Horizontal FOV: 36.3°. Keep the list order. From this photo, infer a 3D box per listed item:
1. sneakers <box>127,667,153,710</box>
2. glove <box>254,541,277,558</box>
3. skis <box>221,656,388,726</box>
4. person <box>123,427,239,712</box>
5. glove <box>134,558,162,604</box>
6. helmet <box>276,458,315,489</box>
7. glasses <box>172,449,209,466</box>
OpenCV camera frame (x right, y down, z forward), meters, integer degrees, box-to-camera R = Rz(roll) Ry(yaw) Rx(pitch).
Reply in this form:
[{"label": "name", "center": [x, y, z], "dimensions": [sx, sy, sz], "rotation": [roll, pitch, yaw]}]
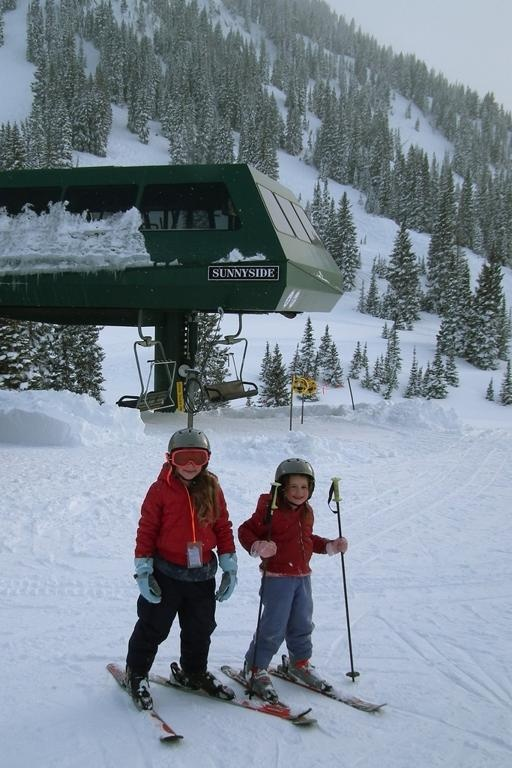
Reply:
[{"label": "sneakers", "center": [-0.619, 1.644, 4.149], "dimensions": [0.079, 0.097, 0.252], "rotation": [4, 0, -27]}, {"label": "glove", "center": [0.060, 0.891, 4.232], "dimensions": [0.104, 0.083, 0.102], "rotation": [0, 1, -1]}, {"label": "skis", "center": [0.226, 1.730, 4.666], "dimensions": [1.264, 0.165, 0.146], "rotation": [-5, -10, 42]}, {"label": "person", "center": [-0.374, 0.989, 4.226], "dimensions": [0.592, 1.486, 0.356], "rotation": [3, 6, -10]}, {"label": "glove", "center": [-0.564, 1.044, 4.098], "dimensions": [0.139, 0.267, 0.147], "rotation": [1, 7, -23]}, {"label": "helmet", "center": [0.213, 0.506, 4.352], "dimensions": [0.178, 0.181, 0.203], "rotation": [3, -9, -8]}, {"label": "glasses", "center": [-0.349, 0.392, 4.120], "dimensions": [0.198, 0.102, 0.104], "rotation": [3, 6, -4]}]
